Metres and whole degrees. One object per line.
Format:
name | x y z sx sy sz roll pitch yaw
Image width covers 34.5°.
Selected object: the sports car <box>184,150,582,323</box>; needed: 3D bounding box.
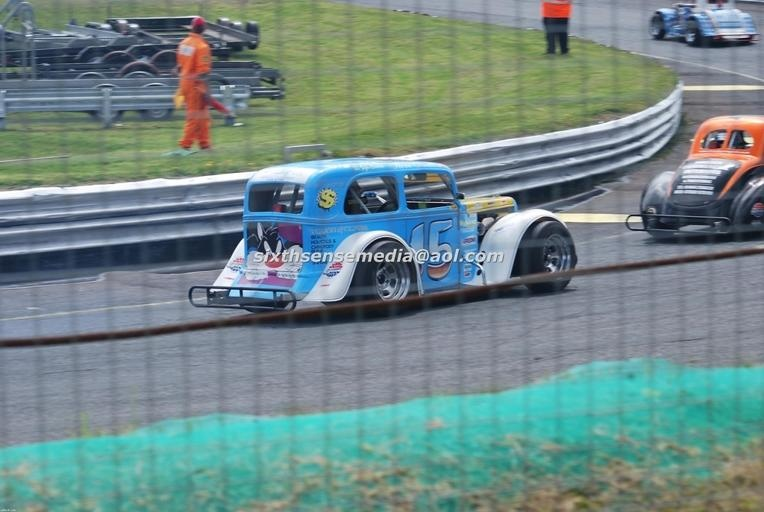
sports car | 0.061 -0.225 8.503 2.592 0.592 1.318 -9 24 -44
